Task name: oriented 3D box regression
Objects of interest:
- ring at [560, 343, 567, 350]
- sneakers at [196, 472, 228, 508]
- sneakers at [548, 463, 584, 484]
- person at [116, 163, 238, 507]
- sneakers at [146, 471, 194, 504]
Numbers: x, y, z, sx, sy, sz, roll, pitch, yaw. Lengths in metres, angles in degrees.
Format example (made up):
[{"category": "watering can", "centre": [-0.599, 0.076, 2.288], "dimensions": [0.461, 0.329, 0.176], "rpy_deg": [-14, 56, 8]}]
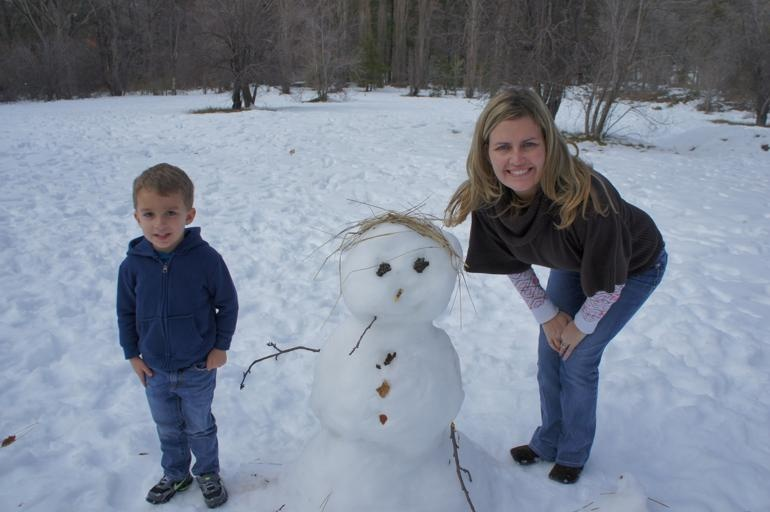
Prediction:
[{"category": "ring", "centre": [1.588, 0.798, 5.192], "dimensions": [0.039, 0.055, 0.017], "rpy_deg": [2, 37, 13]}, {"category": "sneakers", "centre": [-1.509, 2.037, 5.123], "dimensions": [0.216, 0.237, 0.239], "rpy_deg": [-9, 19, -27]}, {"category": "sneakers", "centre": [1.604, 1.947, 5.228], "dimensions": [0.285, 0.127, 0.142], "rpy_deg": [6, 3, -13]}, {"category": "person", "centre": [-1.872, 0.667, 5.157], "dimensions": [1.008, 2.829, 0.904], "rpy_deg": [2, 16, 9]}, {"category": "sneakers", "centre": [-1.915, 2.052, 5.218], "dimensions": [0.373, 0.173, 0.171], "rpy_deg": [-27, 45, -23]}]
